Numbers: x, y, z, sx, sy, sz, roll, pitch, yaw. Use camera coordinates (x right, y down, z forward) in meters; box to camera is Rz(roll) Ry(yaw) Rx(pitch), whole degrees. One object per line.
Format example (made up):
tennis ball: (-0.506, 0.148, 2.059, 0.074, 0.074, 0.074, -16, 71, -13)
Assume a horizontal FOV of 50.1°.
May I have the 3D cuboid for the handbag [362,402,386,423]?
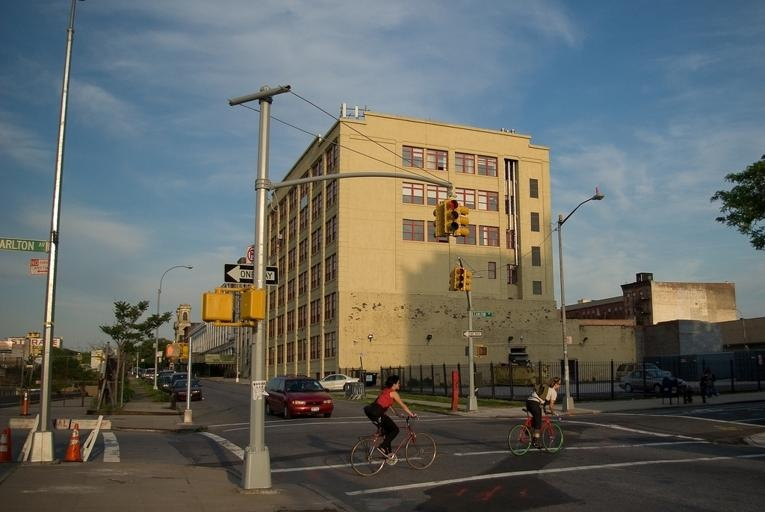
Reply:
handbag: (-0.311, 4.986, 25.858, 0.550, 0.627, 0.712, 7, -15, -13)
